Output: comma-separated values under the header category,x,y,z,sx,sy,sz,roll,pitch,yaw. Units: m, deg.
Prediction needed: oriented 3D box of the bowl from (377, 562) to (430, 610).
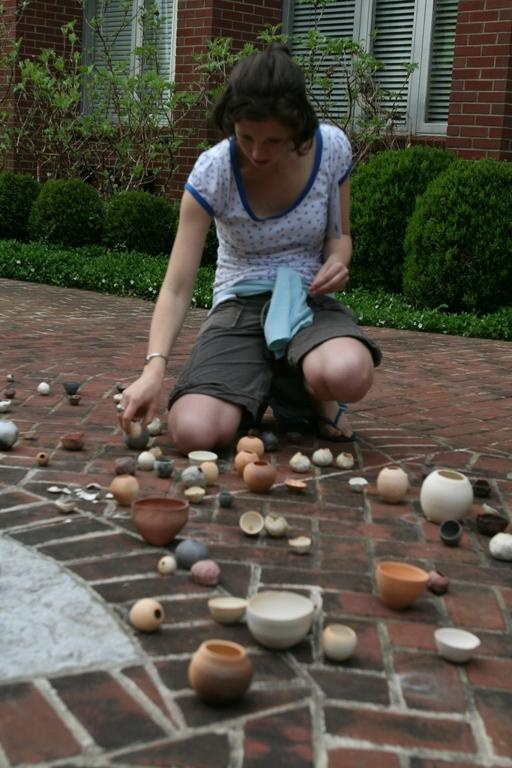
category,x,y,z,sx,sy,sz,roll,pitch,yaw
bowl,0.335,0.474,1.354,0.111,0.096,0.136,8,7,12

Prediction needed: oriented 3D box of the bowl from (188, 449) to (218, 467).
category,x,y,z,sx,sy,sz,roll,pitch,yaw
bowl,-0.207,0.278,2.225,0.065,0.035,0.065,4,8,0

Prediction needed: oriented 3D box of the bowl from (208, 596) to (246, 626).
category,x,y,z,sx,sy,sz,roll,pitch,yaw
bowl,-0.062,0.458,1.208,0.066,0.029,0.066,1,3,0

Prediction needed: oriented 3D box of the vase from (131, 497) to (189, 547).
category,x,y,z,sx,sy,sz,roll,pitch,yaw
vase,-0.266,0.372,1.640,0.140,0.101,0.138,1,3,1

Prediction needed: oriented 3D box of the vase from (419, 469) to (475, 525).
category,x,y,z,sx,sy,sz,roll,pitch,yaw
vase,0.610,0.364,1.863,0.171,0.157,0.169,3,11,13

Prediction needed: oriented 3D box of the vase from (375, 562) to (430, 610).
category,x,y,z,sx,sy,sz,roll,pitch,yaw
vase,0.332,0.455,1.348,0.106,0.070,0.106,16,12,24

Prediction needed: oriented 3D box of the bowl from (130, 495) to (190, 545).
category,x,y,z,sx,sy,sz,roll,pitch,yaw
bowl,-0.267,0.369,1.625,0.139,0.100,0.136,1,3,0

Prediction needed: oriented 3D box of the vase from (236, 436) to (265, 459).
category,x,y,z,sx,sy,sz,roll,pitch,yaw
vase,-0.016,0.264,2.403,0.092,0.085,0.090,1,9,-6

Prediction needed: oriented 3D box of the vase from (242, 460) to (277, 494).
category,x,y,z,sx,sy,sz,roll,pitch,yaw
vase,0.013,0.330,2.100,0.113,0.103,0.113,1,16,2

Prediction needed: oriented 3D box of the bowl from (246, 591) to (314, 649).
category,x,y,z,sx,sy,sz,roll,pitch,yaw
bowl,0.039,0.473,1.147,0.132,0.078,0.134,3,4,0

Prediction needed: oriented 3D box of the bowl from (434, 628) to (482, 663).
category,x,y,z,sx,sy,sz,roll,pitch,yaw
bowl,0.404,0.514,1.145,0.069,0.031,0.069,5,16,-1

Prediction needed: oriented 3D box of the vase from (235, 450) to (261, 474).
category,x,y,z,sx,sy,sz,roll,pitch,yaw
vase,-0.034,0.296,2.231,0.085,0.082,0.086,1,3,-13

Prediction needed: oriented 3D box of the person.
category,x,y,z,sx,sy,sz,roll,pitch,yaw
person,0.085,-0.483,2.428,0.935,1.605,1.084,8,7,12
